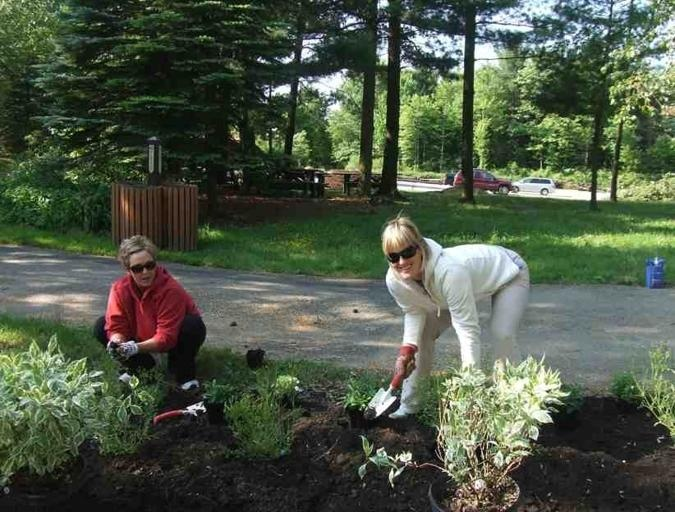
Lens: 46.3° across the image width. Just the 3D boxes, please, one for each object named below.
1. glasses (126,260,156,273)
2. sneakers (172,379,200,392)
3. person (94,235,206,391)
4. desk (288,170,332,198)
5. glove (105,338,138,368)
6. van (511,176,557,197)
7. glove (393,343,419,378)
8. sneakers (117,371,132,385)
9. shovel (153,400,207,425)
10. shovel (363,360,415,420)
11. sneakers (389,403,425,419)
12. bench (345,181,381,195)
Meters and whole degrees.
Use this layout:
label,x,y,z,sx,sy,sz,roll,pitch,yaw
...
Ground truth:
label,x,y,z,sx,sy,sz,roll,pitch,yaw
glasses,-2.082,0.111,8.378,0.281,0.140,0.132,-1,6,-19
sneakers,-1.606,1.384,8.386,0.195,0.094,0.190,4,-14,-23
person,-2.011,0.593,8.535,1.105,1.603,0.810,0,6,-13
desk,-1.132,-2.714,28.501,1.293,0.597,1.327,7,20,26
glove,-2.328,1.012,8.305,0.164,0.232,0.324,-28,33,-35
van,11.923,-4.212,48.615,2.935,0.988,1.354,11,17,35
glove,0.689,1.012,7.873,0.179,0.122,0.282,28,32,-4
sneakers,-2.282,1.312,8.430,0.188,0.177,0.179,3,-21,-11
shovel,-1.536,1.531,7.806,0.619,0.043,0.204,-10,27,-32
shovel,0.592,1.355,7.961,0.244,0.208,0.930,43,38,10
sneakers,0.693,1.576,7.939,0.358,0.219,0.124,1,-10,8
bench,0.934,-2.616,30.620,1.103,0.245,1.133,0,14,-2
